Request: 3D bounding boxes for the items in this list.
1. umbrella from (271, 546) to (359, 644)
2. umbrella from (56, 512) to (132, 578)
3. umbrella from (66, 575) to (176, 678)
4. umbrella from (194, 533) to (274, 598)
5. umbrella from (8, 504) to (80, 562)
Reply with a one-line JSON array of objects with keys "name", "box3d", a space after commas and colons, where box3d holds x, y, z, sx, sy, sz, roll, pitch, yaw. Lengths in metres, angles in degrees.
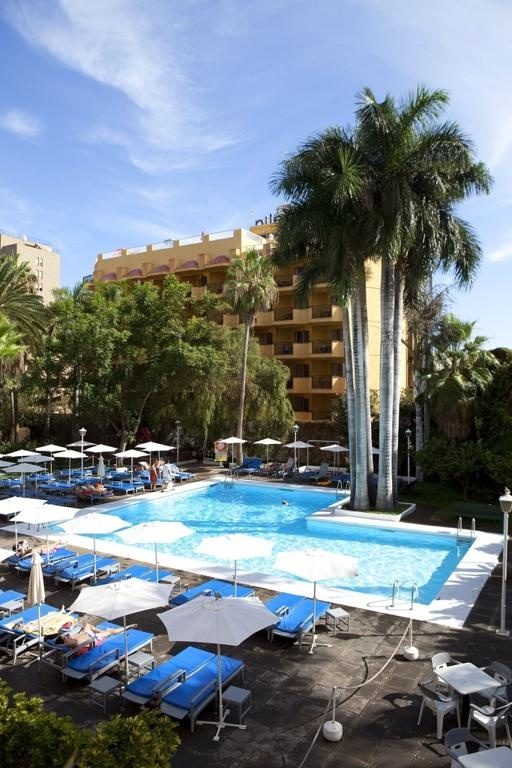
[{"name": "umbrella", "box3d": [0.969, 3.483, 10.135, 1.425, 1.536, 1.468, 1, -2, -1]}, {"name": "umbrella", "box3d": [-3.743, 3.720, 13.643, 1.453, 1.382, 1.526, -2, 4, -15]}, {"name": "umbrella", "box3d": [-1.855, 3.335, 8.298, 1.096, 1.032, 1.155, 2, 7, 22]}, {"name": "umbrella", "box3d": [-0.360, 3.385, 10.568, 1.310, 1.226, 1.278, -1, 6, -14]}, {"name": "umbrella", "box3d": [-5.047, 3.557, 14.138, 1.432, 1.044, 1.456, 3, 5, 7]}]
